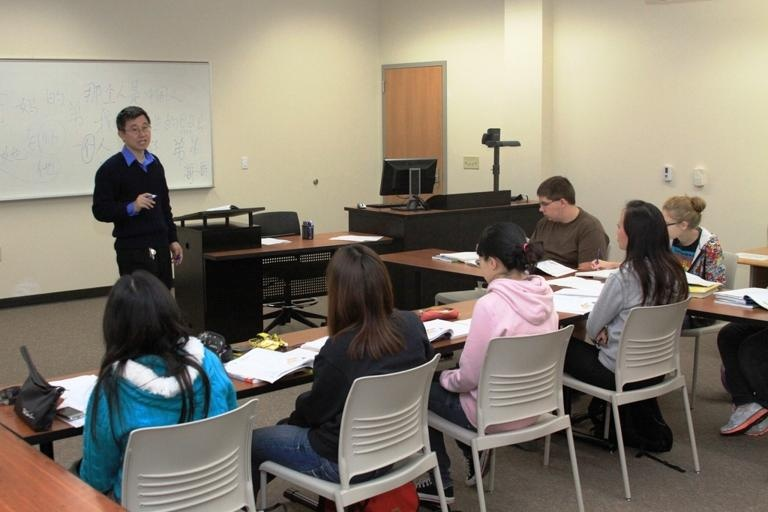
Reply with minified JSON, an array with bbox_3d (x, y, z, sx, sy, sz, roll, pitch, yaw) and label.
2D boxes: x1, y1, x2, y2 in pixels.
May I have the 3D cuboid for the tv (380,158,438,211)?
[{"bbox_3d":[0.282,-0.791,5.945,0.823,0.755,0.356,-2,16,-10],"label":"tv"}]

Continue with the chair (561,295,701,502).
[{"bbox_3d":[1.378,0.723,2.964,0.753,1.008,0.361,-5,12,-23],"label":"chair"}]

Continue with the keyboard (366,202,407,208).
[{"bbox_3d":[0.010,-0.536,5.820,0.405,0.047,0.233,-1,11,-3],"label":"keyboard"}]

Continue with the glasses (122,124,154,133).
[{"bbox_3d":[-1.812,-0.932,3.991,0.169,0.058,0.087,-9,14,-39],"label":"glasses"}]

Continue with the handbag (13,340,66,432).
[{"bbox_3d":[-1.284,0.497,2.018,0.245,0.253,0.102,25,9,22],"label":"handbag"}]

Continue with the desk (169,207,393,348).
[{"bbox_3d":[-1.003,0.235,5.309,1.764,1.111,0.846,3,-12,-17],"label":"desk"}]

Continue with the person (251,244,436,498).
[{"bbox_3d":[-0.194,0.511,2.219,0.770,1.104,0.338,1,11,6],"label":"person"}]

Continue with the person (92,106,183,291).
[{"bbox_3d":[-1.848,-0.400,4.061,0.585,1.392,0.434,-6,13,-29],"label":"person"}]

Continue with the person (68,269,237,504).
[{"bbox_3d":[-0.802,0.450,1.892,0.500,0.789,0.192,-6,13,-28],"label":"person"}]
